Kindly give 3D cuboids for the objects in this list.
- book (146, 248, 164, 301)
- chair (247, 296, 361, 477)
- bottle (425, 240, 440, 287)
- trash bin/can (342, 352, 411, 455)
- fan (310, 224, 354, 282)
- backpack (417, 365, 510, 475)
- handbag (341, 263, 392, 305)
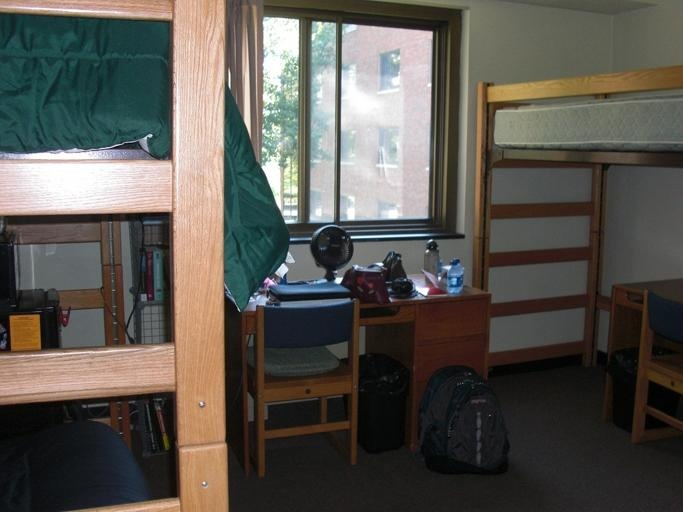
[{"bbox_3d":[-1.059,0.093,3.328,0.086,0.251,0.248,-1,11,-13],"label":"book"},{"bbox_3d":[-0.231,0.651,3.268,0.546,0.920,0.610,-1,7,-11],"label":"chair"},{"bbox_3d":[0.581,0.043,3.826,0.119,0.268,0.119,0,-2,0],"label":"bottle"},{"bbox_3d":[0.235,0.820,3.382,0.304,0.352,0.284,6,18,8],"label":"trash bin/can"},{"bbox_3d":[-0.034,-0.030,3.589,0.258,0.419,0.216,3,32,10],"label":"fan"},{"bbox_3d":[0.610,0.903,3.347,0.464,0.529,0.512,2,-5,-9],"label":"backpack"},{"bbox_3d":[0.135,0.167,3.281,0.209,0.220,0.092,7,-5,32],"label":"handbag"}]
